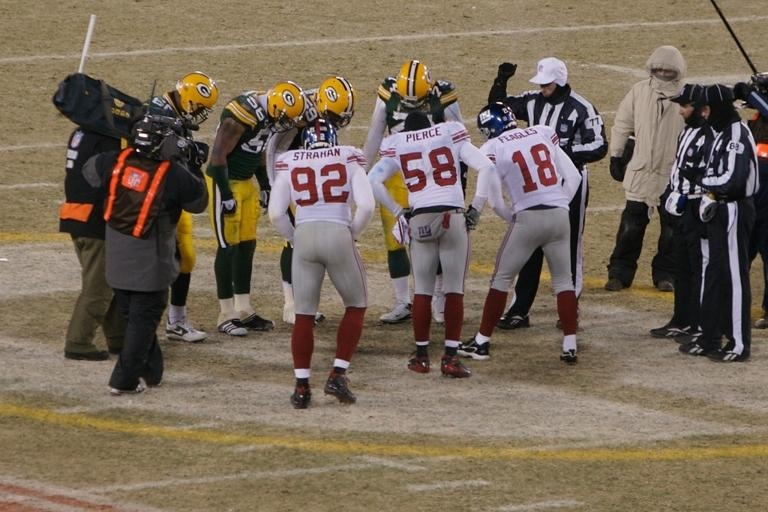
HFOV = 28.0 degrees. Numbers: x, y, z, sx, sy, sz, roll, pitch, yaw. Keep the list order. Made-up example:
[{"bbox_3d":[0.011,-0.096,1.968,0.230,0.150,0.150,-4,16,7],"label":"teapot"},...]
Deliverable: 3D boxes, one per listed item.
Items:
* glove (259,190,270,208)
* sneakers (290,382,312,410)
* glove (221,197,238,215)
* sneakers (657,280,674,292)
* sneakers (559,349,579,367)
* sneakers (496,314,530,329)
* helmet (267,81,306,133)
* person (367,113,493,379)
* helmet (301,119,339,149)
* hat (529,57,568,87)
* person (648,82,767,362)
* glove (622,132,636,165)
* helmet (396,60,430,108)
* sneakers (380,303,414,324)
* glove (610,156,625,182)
[{"bbox_3d":[-1.458,-0.703,18.803,0.206,0.217,0.098,-4,-1,4],"label":"glove"},{"bbox_3d":[-0.891,1.525,16.785,0.163,0.207,0.358,5,11,-5],"label":"sneakers"},{"bbox_3d":[-1.819,-0.604,18.207,0.220,0.149,0.197,0,14,18],"label":"glove"},{"bbox_3d":[3.718,0.394,20.373,0.151,0.116,0.182,6,5,-37],"label":"sneakers"},{"bbox_3d":[2.168,1.187,17.979,0.158,0.137,0.231,5,20,11],"label":"sneakers"},{"bbox_3d":[1.606,0.821,19.035,0.387,0.124,0.167,3,-1,-10],"label":"sneakers"},{"bbox_3d":[-1.117,-1.795,18.394,0.447,0.516,0.564,41,1,-1],"label":"helmet"},{"bbox_3d":[0.550,-0.130,17.466,1.317,3.020,0.432,1,3,3],"label":"person"},{"bbox_3d":[-0.658,-1.338,16.940,0.333,0.284,0.392,-7,-8,-15],"label":"helmet"},{"bbox_3d":[2.109,-2.264,18.819,0.546,0.248,0.349,-11,23,-30],"label":"hat"},{"bbox_3d":[3.926,-0.389,18.035,0.822,3.246,0.495,1,3,10],"label":"person"},{"bbox_3d":[3.217,-1.395,20.126,0.133,0.315,0.213,2,3,18],"label":"glove"},{"bbox_3d":[0.352,-2.020,18.083,0.407,0.560,0.300,1,3,0],"label":"helmet"},{"bbox_3d":[0.088,0.723,19.229,0.523,0.184,0.182,-4,5,-17],"label":"sneakers"},{"bbox_3d":[3.066,-1.163,20.239,0.274,0.277,0.196,-4,-12,14],"label":"glove"}]
